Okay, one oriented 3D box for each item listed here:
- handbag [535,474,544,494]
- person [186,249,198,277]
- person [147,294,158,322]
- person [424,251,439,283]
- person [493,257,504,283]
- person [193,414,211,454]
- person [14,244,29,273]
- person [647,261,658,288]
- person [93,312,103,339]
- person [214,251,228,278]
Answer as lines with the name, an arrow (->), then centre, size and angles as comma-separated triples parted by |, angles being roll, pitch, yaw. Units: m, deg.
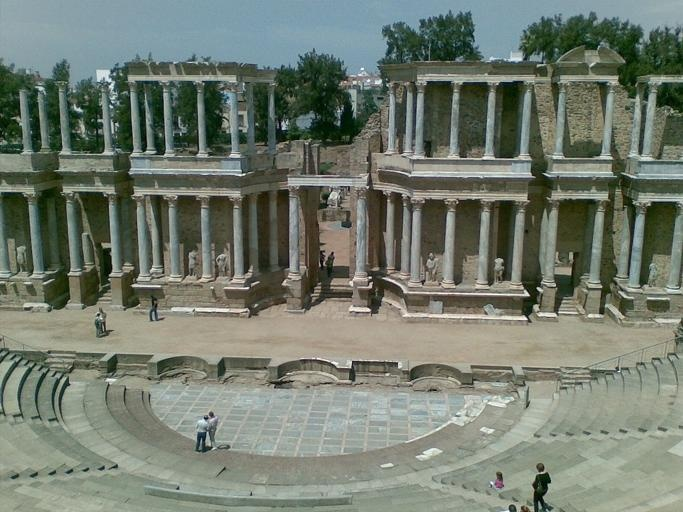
handbag -> 6.751, 7.778, 24.106 | 0.241, 0.462, 0.412 | 0, 9, 15
person -> -8.908, 0.470, 42.348 | 0.516, 1.541, 0.495 | -3, 9, -2
person -> -11.031, 3.061, 41.443 | 0.544, 1.298, 1.528 | -5, 9, -14
person -> 5.228, 0.674, 41.209 | 0.732, 1.672, 0.748 | -2, 9, 6
person -> 9.258, 0.830, 41.548 | 0.615, 1.401, 1.221 | -1, 9, 13
person -> -5.773, 7.289, 29.262 | 0.651, 1.462, 0.753 | -5, 9, -12
person -> -19.471, 0.253, 43.064 | 0.768, 1.654, 0.579 | -4, 9, -6
person -> 17.874, 1.067, 40.722 | 0.600, 1.330, 0.496 | -2, 9, 3
person -> -13.188, 3.759, 38.369 | 0.395, 1.325, 0.379 | -5, 10, -13
person -> -7.111, 0.578, 42.164 | 0.614, 1.347, 0.272 | -1, 10, 8
